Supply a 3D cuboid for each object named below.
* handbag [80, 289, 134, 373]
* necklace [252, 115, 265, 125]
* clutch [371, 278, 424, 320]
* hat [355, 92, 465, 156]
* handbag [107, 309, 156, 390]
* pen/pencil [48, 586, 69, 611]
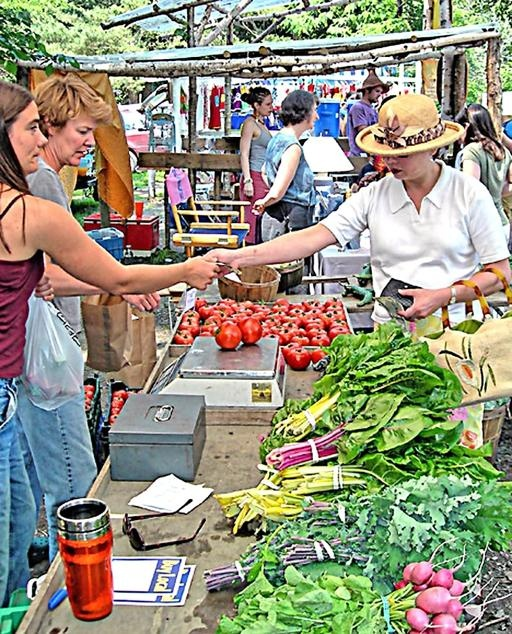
[{"bbox_3d":[-1.133,0.113,4.231,0.404,0.587,0.389,3,20,2],"label":"handbag"},{"bbox_3d":[0.035,-2.886,7.730,0.157,0.049,0.183,17,-1,32],"label":"necklace"},{"bbox_3d":[0.725,-0.100,2.775,0.213,0.198,0.058,24,-14,42],"label":"clutch"},{"bbox_3d":[0.740,-0.892,2.603,0.656,0.359,0.301,8,23,19],"label":"hat"},{"bbox_3d":[-1.222,0.290,4.323,0.598,0.650,0.419,-3,-4,30],"label":"handbag"},{"bbox_3d":[-0.517,0.734,1.375,0.021,0.014,0.064,19,4,1],"label":"pen/pencil"}]
